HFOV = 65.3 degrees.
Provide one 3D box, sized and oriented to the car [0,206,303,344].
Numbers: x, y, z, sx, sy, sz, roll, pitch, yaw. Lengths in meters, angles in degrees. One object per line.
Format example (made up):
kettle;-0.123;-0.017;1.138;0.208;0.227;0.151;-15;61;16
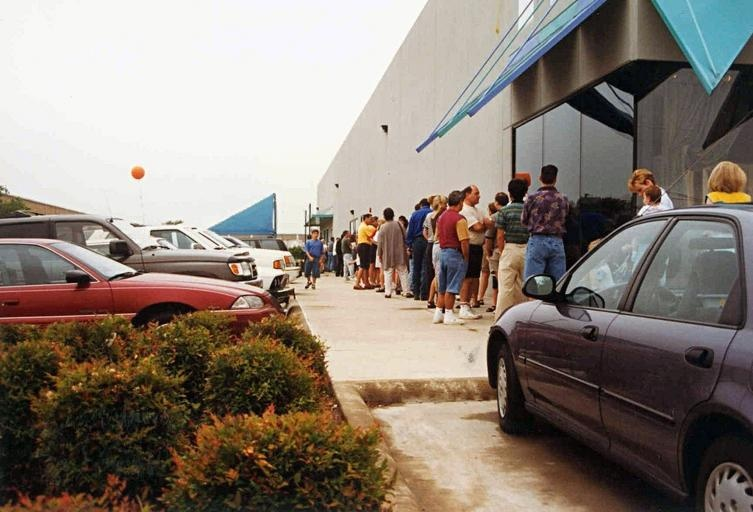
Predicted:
car;-3.661;0.054;9.538;4.264;1.320;2.457;3;4;-19
